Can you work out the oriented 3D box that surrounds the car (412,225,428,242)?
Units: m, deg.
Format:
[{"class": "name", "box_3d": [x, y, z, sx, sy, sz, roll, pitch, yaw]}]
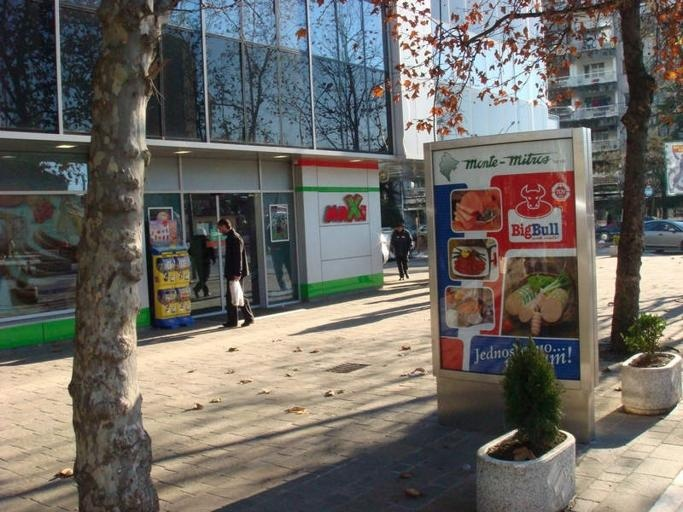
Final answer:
[{"class": "car", "box_3d": [5.375, -1.607, 40.272, 0.728, 0.993, 5.925, -2, 4, 6]}]

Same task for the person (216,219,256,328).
[{"class": "person", "box_3d": [-2.566, 0.393, 14.448, 0.742, 2.602, 1.313, -2, 3, -9]}]

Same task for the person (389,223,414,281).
[{"class": "person", "box_3d": [2.415, -0.186, 23.660, 0.799, 2.208, 1.407, -2, 3, 5]}]
